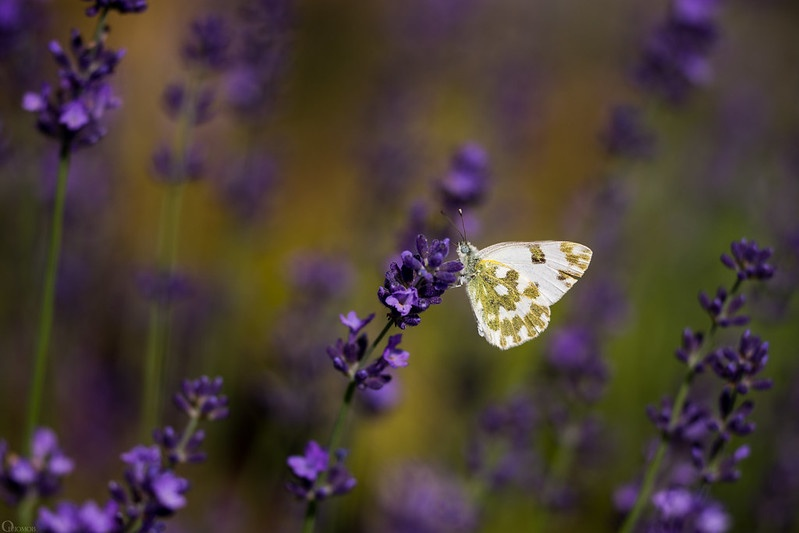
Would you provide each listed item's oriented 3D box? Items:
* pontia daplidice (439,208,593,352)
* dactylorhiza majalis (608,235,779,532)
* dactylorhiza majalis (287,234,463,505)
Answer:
[{"bbox_3d":[0.325,0.116,2.684,0.387,0.362,0.605,7,-15,0],"label":"pontia daplidice"},{"bbox_3d":[0.706,0.294,2.133,0.312,0.692,0.465,0,-15,23],"label":"dactylorhiza majalis"},{"bbox_3d":[-0.061,0.219,2.023,0.315,0.628,0.463,7,-14,-6],"label":"dactylorhiza majalis"}]
